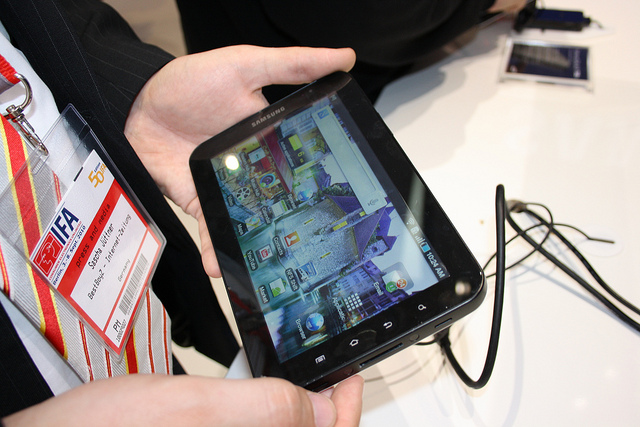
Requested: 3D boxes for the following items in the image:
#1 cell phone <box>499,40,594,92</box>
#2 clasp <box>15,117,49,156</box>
[{"bbox_3d":[0.514,-0.331,1.175,0.197,0.027,0.122,8,60,13],"label":"cell phone"},{"bbox_3d":[-0.531,-0.137,0.947,0.025,0.024,0.092,-35,68,-26],"label":"clasp"}]
